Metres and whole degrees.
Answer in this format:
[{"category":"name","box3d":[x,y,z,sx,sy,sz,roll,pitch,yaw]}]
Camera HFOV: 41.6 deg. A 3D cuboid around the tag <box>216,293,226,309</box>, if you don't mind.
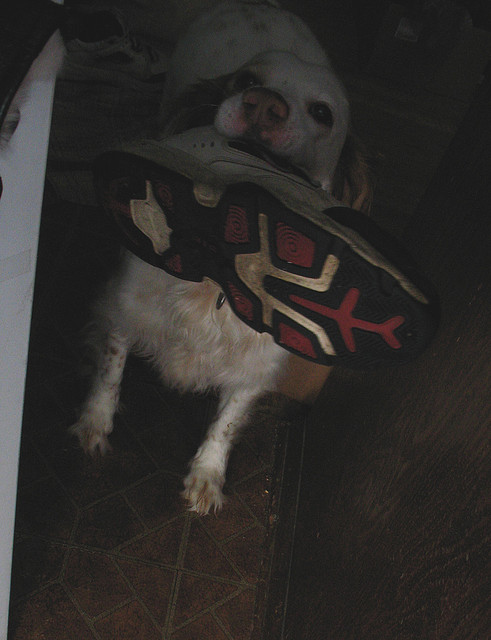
[{"category":"tag","box3d":[-0.064,-0.051,1.657,0.015,0.042,0.032,37,42,17]}]
